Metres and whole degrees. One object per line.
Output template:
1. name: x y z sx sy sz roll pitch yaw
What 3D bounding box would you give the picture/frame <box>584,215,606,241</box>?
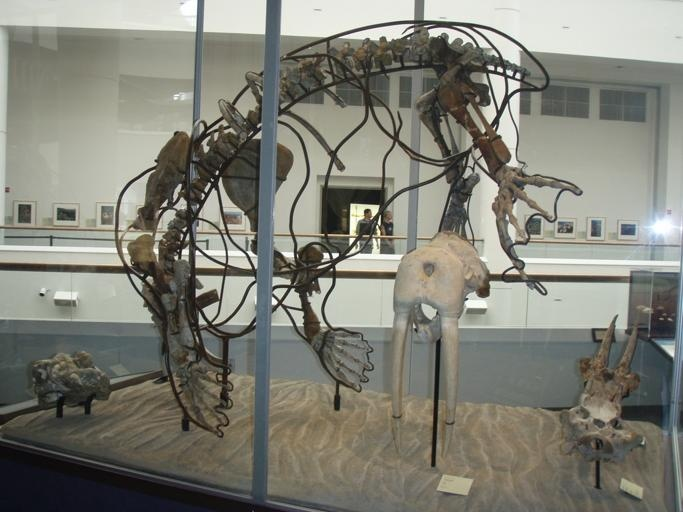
1. picture/frame: 1.101 -0.129 2.888 0.090 0.136 0.009 1 4 12

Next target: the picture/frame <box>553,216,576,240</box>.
1. picture/frame: 0.980 -0.131 2.919 0.077 0.091 0.003 9 7 19

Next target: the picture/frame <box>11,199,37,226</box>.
1. picture/frame: -1.707 -0.238 3.588 0.118 0.161 0.009 0 4 7

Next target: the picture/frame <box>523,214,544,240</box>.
1. picture/frame: 0.857 -0.132 2.972 0.093 0.142 0.006 3 11 32

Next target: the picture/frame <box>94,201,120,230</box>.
1. picture/frame: -1.273 -0.219 3.588 0.130 0.202 0.013 1 -6 -17

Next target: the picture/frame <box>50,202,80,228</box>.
1. picture/frame: -1.478 -0.219 3.541 0.122 0.144 0.005 1 -20 -12
